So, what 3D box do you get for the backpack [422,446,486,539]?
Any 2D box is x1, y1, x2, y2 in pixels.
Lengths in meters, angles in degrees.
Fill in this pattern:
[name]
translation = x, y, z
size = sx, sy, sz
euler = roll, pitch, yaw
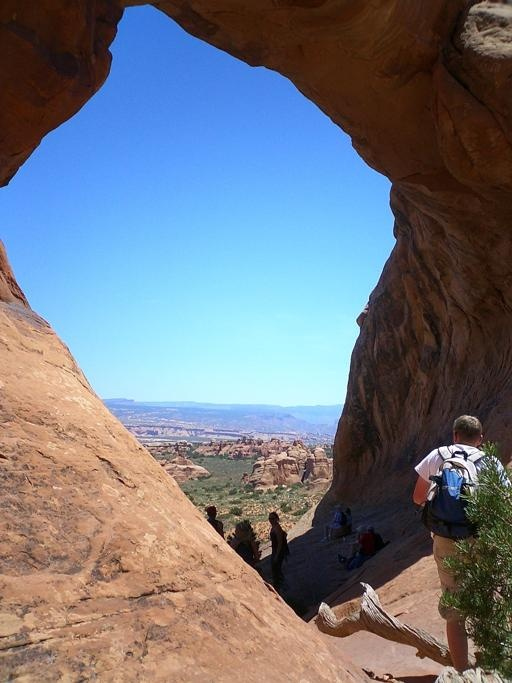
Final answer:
[backpack]
translation = 1.042, 0.775, 2.704
size = 0.274, 0.464, 0.401
euler = 5, -8, -14
